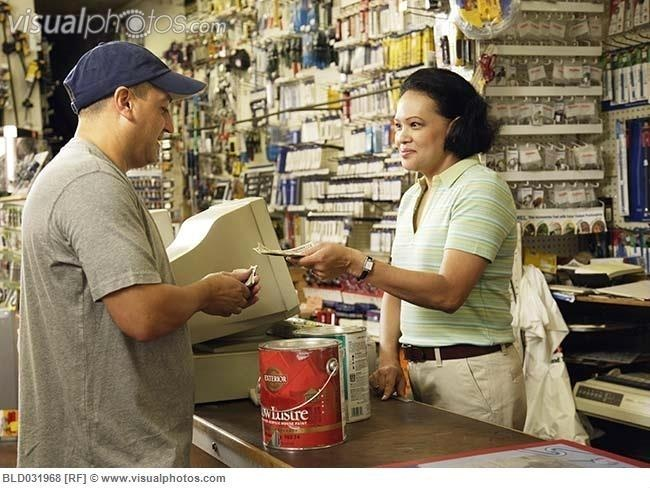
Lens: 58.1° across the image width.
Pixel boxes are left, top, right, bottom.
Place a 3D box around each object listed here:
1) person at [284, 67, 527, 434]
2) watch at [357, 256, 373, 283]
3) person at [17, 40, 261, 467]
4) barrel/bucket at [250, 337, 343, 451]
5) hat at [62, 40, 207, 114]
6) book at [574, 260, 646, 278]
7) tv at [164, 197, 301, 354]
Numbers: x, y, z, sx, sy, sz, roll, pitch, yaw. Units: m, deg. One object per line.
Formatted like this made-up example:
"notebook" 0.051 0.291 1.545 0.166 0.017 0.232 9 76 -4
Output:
"person" 0.413 0.032 2.212 0.654 1.398 0.598 1 6 19
"watch" 0.138 0.083 2.043 0.036 0.063 0.063 36 18 2
"person" -0.609 0.038 1.714 0.674 1.301 0.558 -2 6 -11
"barrel/bucket" -0.069 0.448 1.835 0.269 0.304 0.273 -3 1 0
"hat" -0.608 -0.549 1.907 0.436 0.218 0.271 -15 8 -15
"book" 1.824 0.162 3.783 0.463 0.070 0.287 -6 8 -35
"tv" -0.399 0.138 2.646 0.584 0.610 0.502 -12 -5 6
